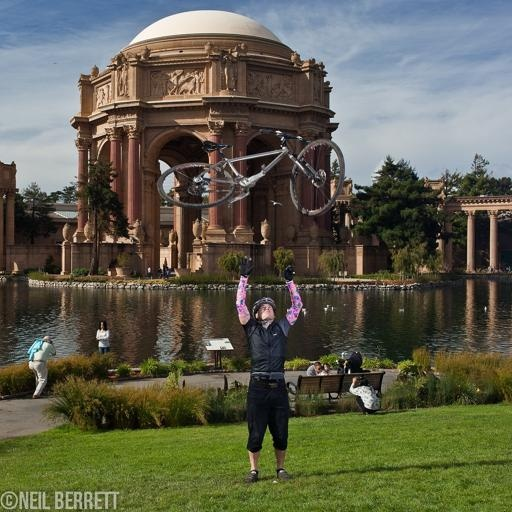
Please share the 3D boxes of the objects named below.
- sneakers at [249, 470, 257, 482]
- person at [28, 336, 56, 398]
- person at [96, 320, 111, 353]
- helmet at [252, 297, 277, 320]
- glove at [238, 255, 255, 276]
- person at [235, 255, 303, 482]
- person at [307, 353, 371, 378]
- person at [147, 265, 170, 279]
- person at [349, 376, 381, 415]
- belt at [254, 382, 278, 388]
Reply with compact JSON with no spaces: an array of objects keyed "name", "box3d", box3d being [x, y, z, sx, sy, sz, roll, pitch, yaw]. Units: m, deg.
[{"name":"sneakers","box3d":[-0.017,3.217,15.654,0.139,0.166,0.292,-1,-4,0]},{"name":"person","box3d":[-4.476,2.320,22.453,0.541,1.271,1.041,0,-4,-13]},{"name":"person","box3d":[-3.690,1.962,25.970,0.277,0.783,1.762,-1,-4,-9]},{"name":"helmet","box3d":[0.126,0.784,16.352,0.243,0.329,0.349,4,-33,-10]},{"name":"glove","box3d":[-0.106,0.144,16.754,0.215,0.341,0.081,0,-7,29]},{"name":"person","box3d":[0.193,1.733,16.076,0.877,3.151,0.914,-1,-3,-1]},{"name":"person","box3d":[2.010,2.277,22.649,0.662,0.286,0.672,-7,8,34]},{"name":"person","box3d":[-5.566,0.983,64.699,1.171,0.854,0.668,1,-2,18]},{"name":"person","box3d":[2.160,2.691,20.862,0.440,0.700,0.886,0,-4,-12]},{"name":"belt","box3d":[0.176,1.915,15.893,0.319,0.117,0.047,-1,-3,-6]}]
